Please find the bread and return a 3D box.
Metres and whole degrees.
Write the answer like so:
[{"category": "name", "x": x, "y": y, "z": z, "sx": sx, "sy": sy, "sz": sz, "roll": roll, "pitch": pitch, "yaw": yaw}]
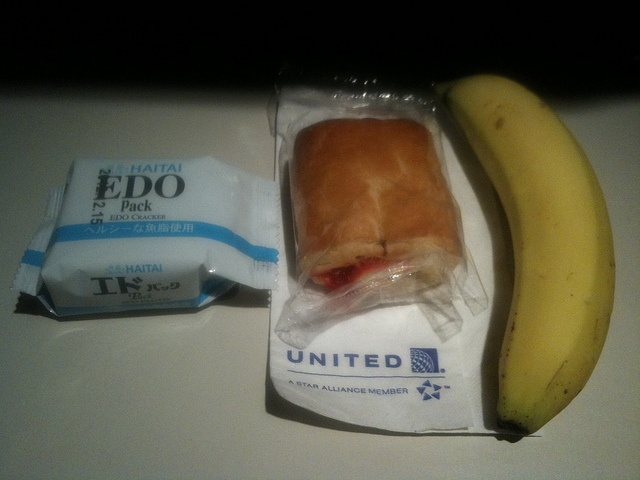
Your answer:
[{"category": "bread", "x": 0.114, "y": -0.079, "z": 1.171, "sx": 0.319, "sy": 0.204, "sz": 0.327, "roll": 0, "pitch": 46, "yaw": -10}]
